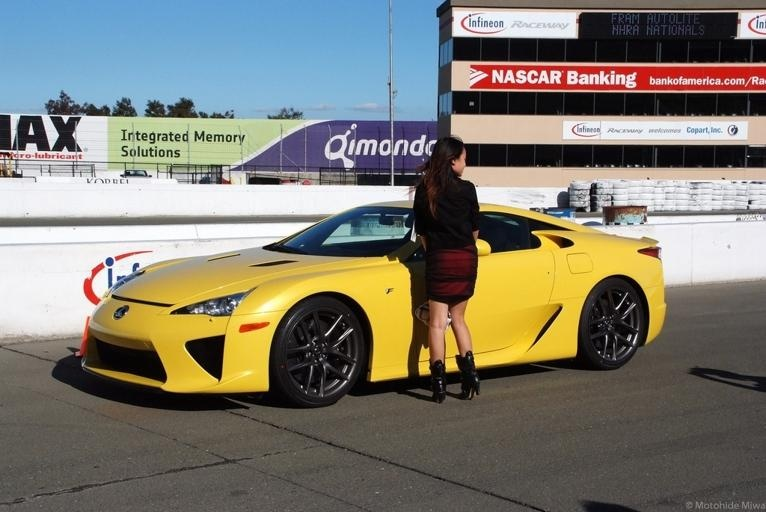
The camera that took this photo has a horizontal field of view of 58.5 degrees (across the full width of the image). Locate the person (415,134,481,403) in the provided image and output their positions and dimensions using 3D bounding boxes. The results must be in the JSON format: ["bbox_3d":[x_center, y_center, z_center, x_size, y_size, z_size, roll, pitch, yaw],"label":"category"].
[{"bbox_3d":[0.646,0.135,6.727,0.680,2.537,0.528,1,11,1],"label":"person"}]

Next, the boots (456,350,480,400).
[{"bbox_3d":[0.856,1.165,6.866,0.183,0.440,0.436,-13,-2,-22],"label":"boots"}]

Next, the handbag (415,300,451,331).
[{"bbox_3d":[0.456,0.569,6.851,0.213,0.319,0.145,7,0,32],"label":"handbag"}]
